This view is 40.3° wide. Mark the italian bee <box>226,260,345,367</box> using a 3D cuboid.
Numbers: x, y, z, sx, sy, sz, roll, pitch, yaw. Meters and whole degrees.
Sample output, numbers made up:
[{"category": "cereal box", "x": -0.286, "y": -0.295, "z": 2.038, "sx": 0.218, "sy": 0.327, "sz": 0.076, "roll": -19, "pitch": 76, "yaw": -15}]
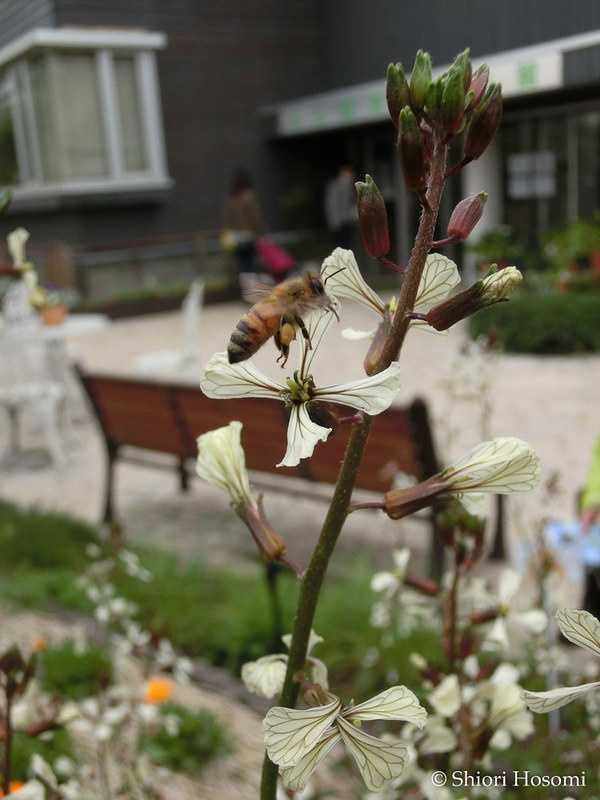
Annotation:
[{"category": "italian bee", "x": -0.025, "y": -0.098, "z": 0.934, "sx": 0.125, "sy": 0.119, "sz": 0.115, "roll": -4, "pitch": 23, "yaw": -13}]

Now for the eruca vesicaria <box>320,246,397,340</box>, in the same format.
[{"category": "eruca vesicaria", "x": 0.048, "y": -0.106, "z": 0.783, "sx": 0.090, "sy": 0.079, "sz": 0.084, "roll": -5, "pitch": 23, "yaw": -9}]

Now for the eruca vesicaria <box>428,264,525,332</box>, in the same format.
[{"category": "eruca vesicaria", "x": 0.149, "y": -0.084, "z": 0.683, "sx": 0.085, "sy": 0.030, "sz": 0.032, "roll": -29, "pitch": -24, "yaw": 31}]

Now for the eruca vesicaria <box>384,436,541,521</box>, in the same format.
[{"category": "eruca vesicaria", "x": 0.141, "y": 0.063, "z": 0.726, "sx": 0.137, "sy": 0.063, "sz": 0.050, "roll": -18, "pitch": 52, "yaw": 5}]

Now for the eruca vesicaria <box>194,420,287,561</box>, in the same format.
[{"category": "eruca vesicaria", "x": -0.057, "y": 0.096, "z": 0.796, "sx": 0.068, "sy": 0.148, "sz": 0.078, "roll": -28, "pitch": 4, "yaw": -23}]
